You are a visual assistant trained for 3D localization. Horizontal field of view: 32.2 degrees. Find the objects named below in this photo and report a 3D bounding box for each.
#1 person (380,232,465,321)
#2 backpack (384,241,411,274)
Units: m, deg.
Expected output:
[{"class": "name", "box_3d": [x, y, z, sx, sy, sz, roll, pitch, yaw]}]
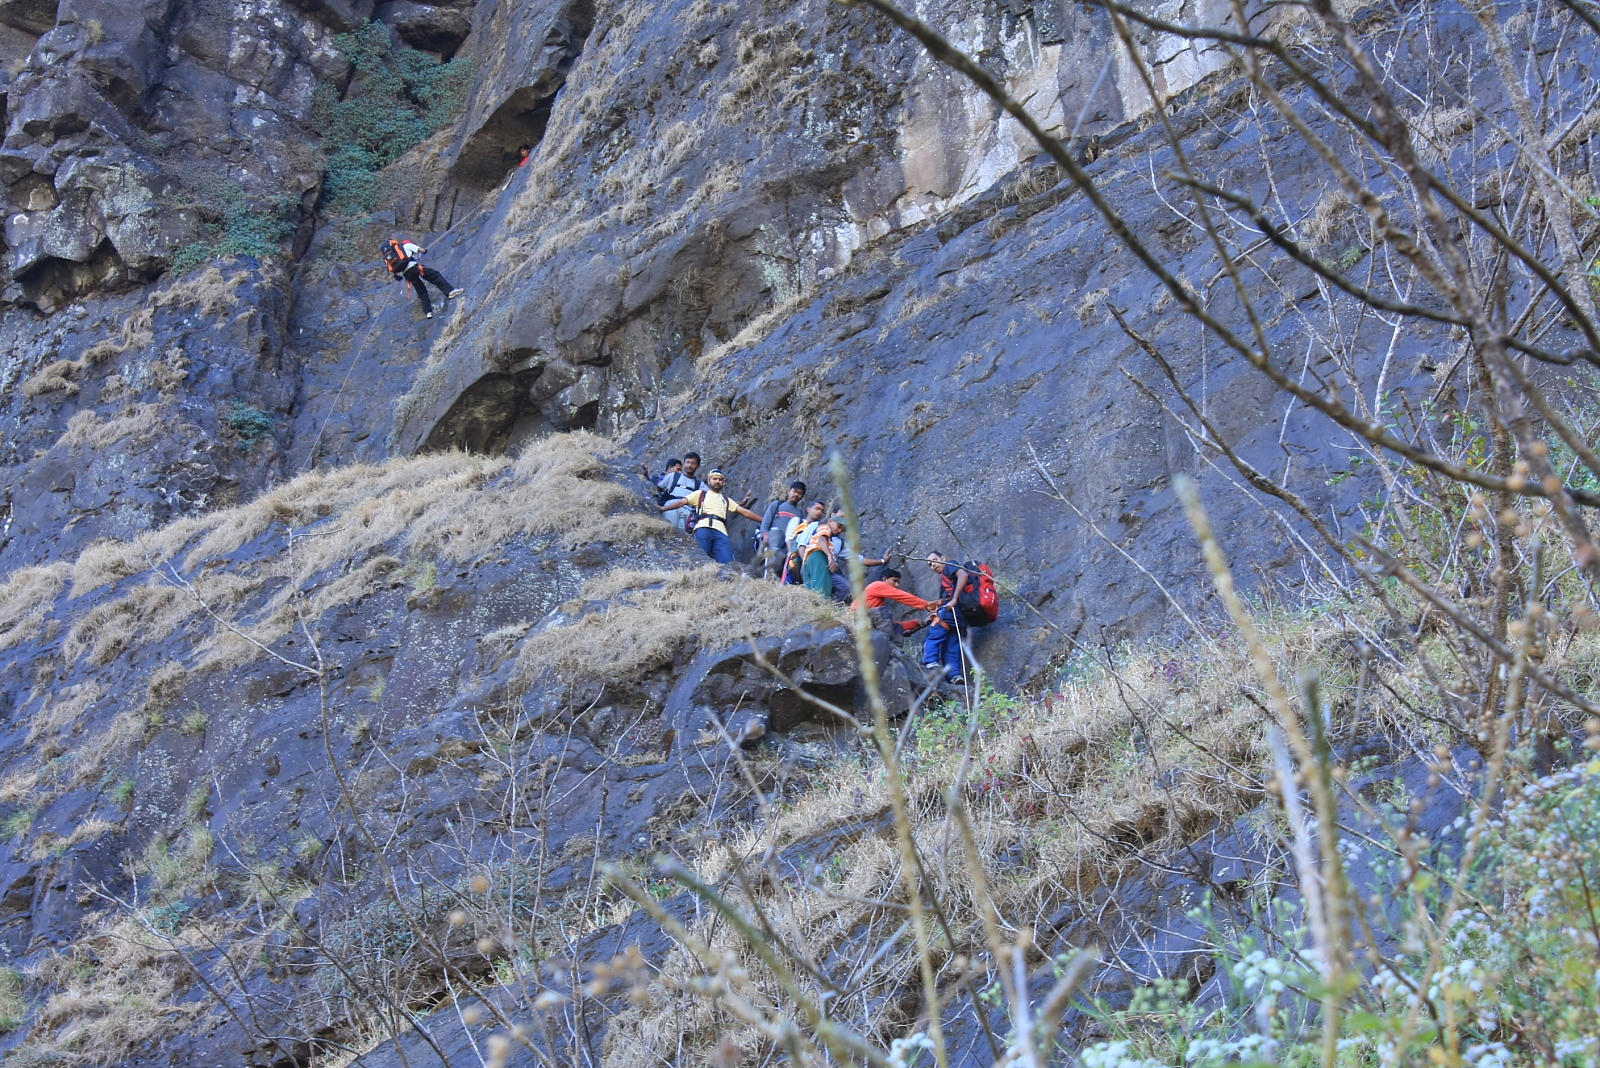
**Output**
[{"class": "person", "box_3d": [-8.678, -5.858, 63.969, 1.149, 1.434, 3.064, -29, -12, -3]}, {"class": "backpack", "box_3d": [-9.159, -6.358, 62.833, 0.309, 0.667, 0.694, -14, -20, -50]}]
